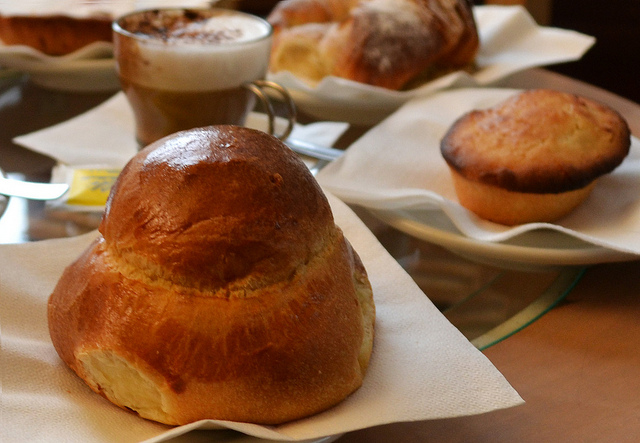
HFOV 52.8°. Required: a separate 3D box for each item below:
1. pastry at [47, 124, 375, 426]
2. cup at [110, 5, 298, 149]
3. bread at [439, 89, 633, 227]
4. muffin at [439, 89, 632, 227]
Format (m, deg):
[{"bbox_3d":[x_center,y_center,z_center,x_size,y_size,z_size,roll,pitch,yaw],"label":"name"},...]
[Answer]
[{"bbox_3d":[-0.103,0.028,0.725,0.353,0.253,0.345,18,32,25],"label":"pastry"},{"bbox_3d":[-0.207,-0.221,1.016,0.292,0.201,0.206,20,27,34],"label":"cup"},{"bbox_3d":[0.281,-0.095,0.865,0.200,0.116,0.199,-20,32,-27],"label":"bread"},{"bbox_3d":[0.283,-0.095,0.862,0.197,0.117,0.201,19,36,41],"label":"muffin"}]
